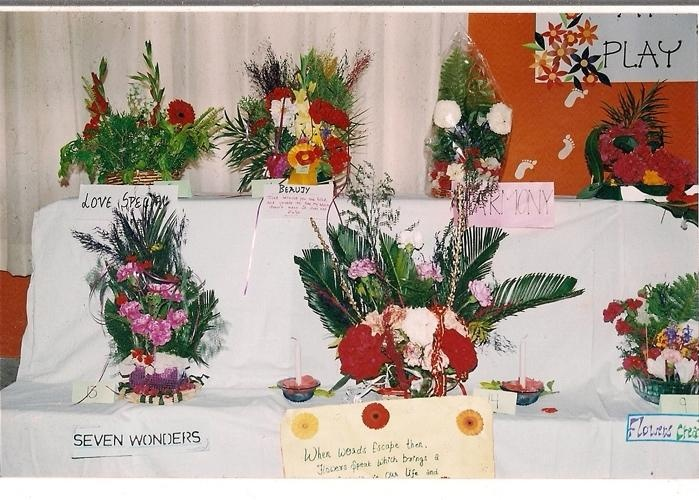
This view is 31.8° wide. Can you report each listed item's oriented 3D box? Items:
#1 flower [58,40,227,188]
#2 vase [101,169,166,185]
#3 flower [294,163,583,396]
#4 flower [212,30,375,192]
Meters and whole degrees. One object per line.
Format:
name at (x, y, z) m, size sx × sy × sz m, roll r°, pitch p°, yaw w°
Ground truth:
flower at (-0.957, -0.573, 5.254) m, size 0.619 × 0.619 × 0.491 m, roll -3°, pitch 11°, yaw -15°
vase at (-0.906, -0.311, 5.146) m, size 0.241 × 0.057 × 0.080 m, roll -1°, pitch 6°, yaw -8°
flower at (0.214, 0.167, 5.162) m, size 0.951 × 0.741 × 1.009 m, roll 2°, pitch -7°, yaw -12°
flower at (-0.234, -0.579, 5.403) m, size 0.640 × 0.632 × 0.747 m, roll -1°, pitch 6°, yaw -2°
